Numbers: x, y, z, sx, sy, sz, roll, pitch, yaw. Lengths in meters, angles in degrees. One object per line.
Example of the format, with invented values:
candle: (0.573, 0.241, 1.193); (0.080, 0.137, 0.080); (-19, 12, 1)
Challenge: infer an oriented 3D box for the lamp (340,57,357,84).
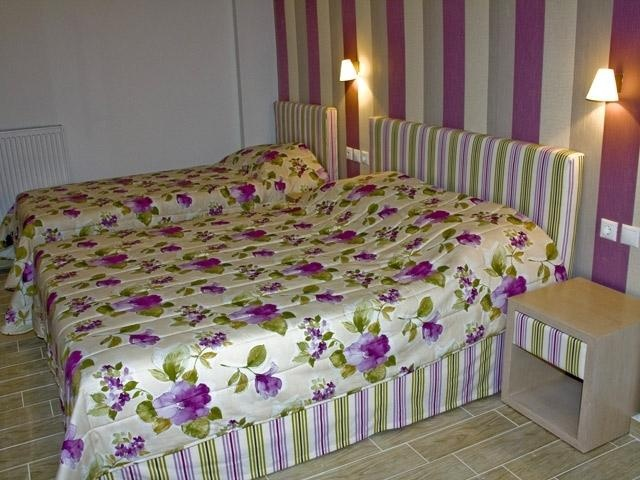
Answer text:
lamp: (0.214, -1.427, 4.145); (0.136, 0.177, 0.248); (-12, 14, -15)

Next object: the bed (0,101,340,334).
bed: (-1.060, -0.363, 4.606); (3.340, 1.286, 1.888); (-9, 26, -24)

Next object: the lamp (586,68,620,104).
lamp: (1.395, -0.757, 2.419); (0.198, 0.152, 0.189); (8, 21, 19)

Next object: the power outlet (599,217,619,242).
power outlet: (1.548, -0.058, 2.614); (0.015, 0.110, 0.128); (-11, 20, -28)
